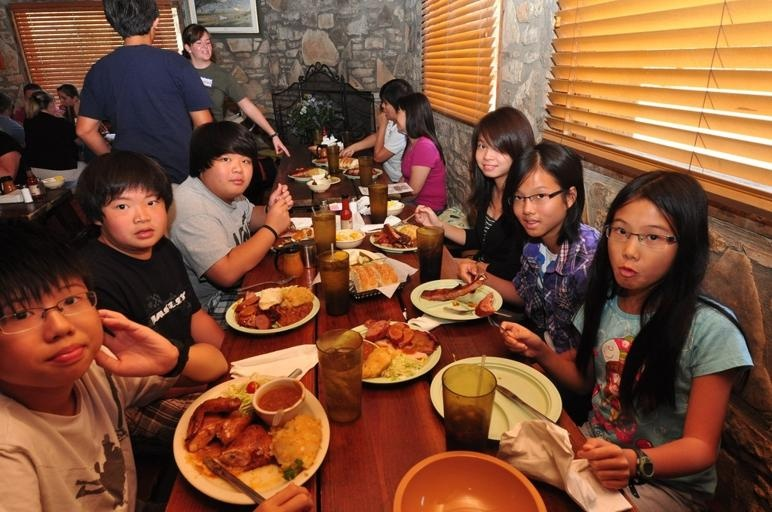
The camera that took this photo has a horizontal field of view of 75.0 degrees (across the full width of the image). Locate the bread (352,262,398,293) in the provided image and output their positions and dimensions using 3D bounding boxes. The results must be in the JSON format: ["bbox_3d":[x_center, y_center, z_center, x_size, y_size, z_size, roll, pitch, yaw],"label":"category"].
[{"bbox_3d":[-0.062,0.087,2.357,0.153,0.050,0.143,-9,40,-24],"label":"bread"}]

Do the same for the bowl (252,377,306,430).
[{"bbox_3d":[-0.364,0.497,1.724,0.156,0.097,0.157,-6,38,5],"label":"bowl"}]

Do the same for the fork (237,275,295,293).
[{"bbox_3d":[-0.560,0.134,2.402,0.299,0.033,0.042,-8,35,-24],"label":"fork"}]

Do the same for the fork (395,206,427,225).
[{"bbox_3d":[0.155,-0.255,3.181,0.065,0.058,0.323,19,39,16],"label":"fork"}]

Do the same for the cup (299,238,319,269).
[{"bbox_3d":[-0.402,-0.002,2.598,0.091,0.136,0.141,-13,13,-29],"label":"cup"}]

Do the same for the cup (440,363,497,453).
[{"bbox_3d":[0.263,0.496,1.681,0.175,0.276,0.197,17,35,38],"label":"cup"}]

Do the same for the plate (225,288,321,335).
[{"bbox_3d":[-0.480,0.242,2.161,0.247,0.042,0.243,-11,26,-28],"label":"plate"}]

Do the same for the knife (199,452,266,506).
[{"bbox_3d":[-0.490,0.715,1.600,0.250,0.021,0.034,31,83,21],"label":"knife"}]
